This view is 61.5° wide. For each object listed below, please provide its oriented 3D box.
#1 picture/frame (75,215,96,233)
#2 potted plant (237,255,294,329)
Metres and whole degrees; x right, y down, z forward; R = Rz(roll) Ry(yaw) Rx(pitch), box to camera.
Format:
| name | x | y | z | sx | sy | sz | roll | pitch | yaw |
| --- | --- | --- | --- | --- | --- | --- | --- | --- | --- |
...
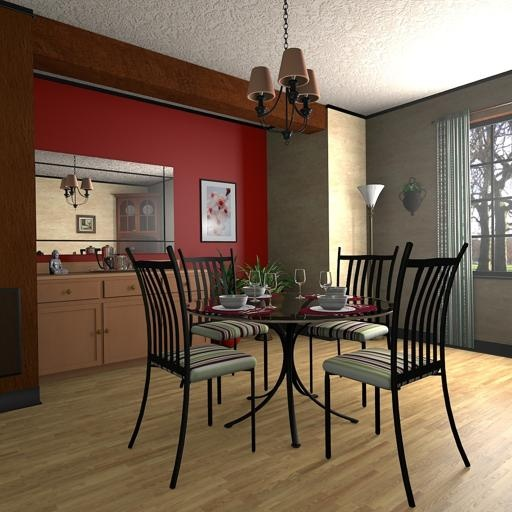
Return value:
| name | x | y | z | sx | sy | sz | roll | pitch | yaw |
| --- | --- | --- | --- | --- | --- | --- | --- | --- | --- |
| picture/frame | -1.566 | -0.285 | 3.885 | 0.185 | 0.177 | 0.014 | 0 | -1 | -41 |
| potted plant | 0.073 | 0.253 | 3.594 | 0.490 | 0.419 | 0.520 | -5 | -8 | 43 |
